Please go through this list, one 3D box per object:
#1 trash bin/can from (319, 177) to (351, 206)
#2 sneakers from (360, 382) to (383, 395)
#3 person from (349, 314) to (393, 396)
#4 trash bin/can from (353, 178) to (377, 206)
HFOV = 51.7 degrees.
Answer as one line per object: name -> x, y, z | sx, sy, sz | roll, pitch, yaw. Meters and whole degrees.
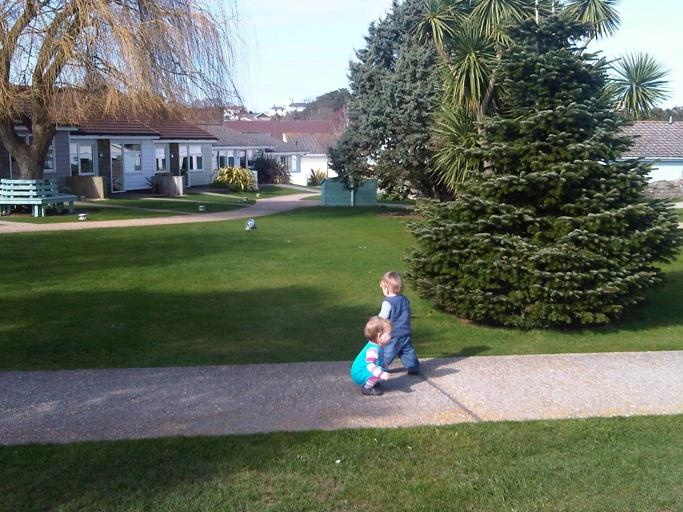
trash bin/can -> -0.289, -2.820, 31.808 | 1.639, 1.579, 1.147 | 0, 12, -8
sneakers -> 0.367, 1.511, 8.052 | 0.295, 0.126, 0.100 | -4, 11, 6
person -> 0.351, 1.117, 8.215 | 0.482, 0.879, 1.029 | 1, 11, -1
trash bin/can -> 1.260, -3.007, 32.581 | 0.980, 1.192, 1.950 | 4, 7, 36
